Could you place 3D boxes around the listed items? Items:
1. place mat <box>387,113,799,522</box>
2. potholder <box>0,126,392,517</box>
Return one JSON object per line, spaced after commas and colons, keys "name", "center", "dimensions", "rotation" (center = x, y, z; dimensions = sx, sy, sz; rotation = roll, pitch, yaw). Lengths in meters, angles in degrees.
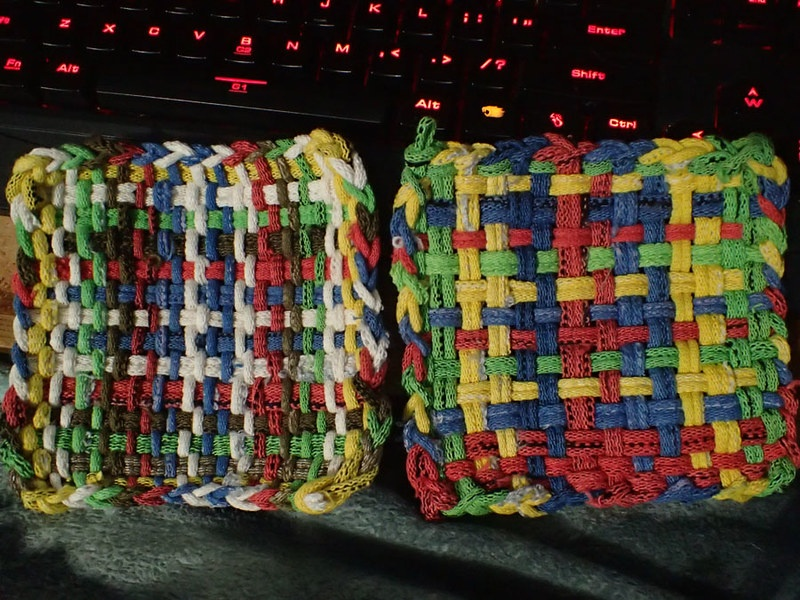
{"name": "place mat", "center": [0.181, 0.021, 1.043], "dimensions": [0.602, 0.314, 0.090], "rotation": [-2, -3, 1]}
{"name": "potholder", "center": [-0.193, 0.020, 0.997], "dimensions": [0.361, 0.346, 0.176], "rotation": [-2, 18, -1]}
